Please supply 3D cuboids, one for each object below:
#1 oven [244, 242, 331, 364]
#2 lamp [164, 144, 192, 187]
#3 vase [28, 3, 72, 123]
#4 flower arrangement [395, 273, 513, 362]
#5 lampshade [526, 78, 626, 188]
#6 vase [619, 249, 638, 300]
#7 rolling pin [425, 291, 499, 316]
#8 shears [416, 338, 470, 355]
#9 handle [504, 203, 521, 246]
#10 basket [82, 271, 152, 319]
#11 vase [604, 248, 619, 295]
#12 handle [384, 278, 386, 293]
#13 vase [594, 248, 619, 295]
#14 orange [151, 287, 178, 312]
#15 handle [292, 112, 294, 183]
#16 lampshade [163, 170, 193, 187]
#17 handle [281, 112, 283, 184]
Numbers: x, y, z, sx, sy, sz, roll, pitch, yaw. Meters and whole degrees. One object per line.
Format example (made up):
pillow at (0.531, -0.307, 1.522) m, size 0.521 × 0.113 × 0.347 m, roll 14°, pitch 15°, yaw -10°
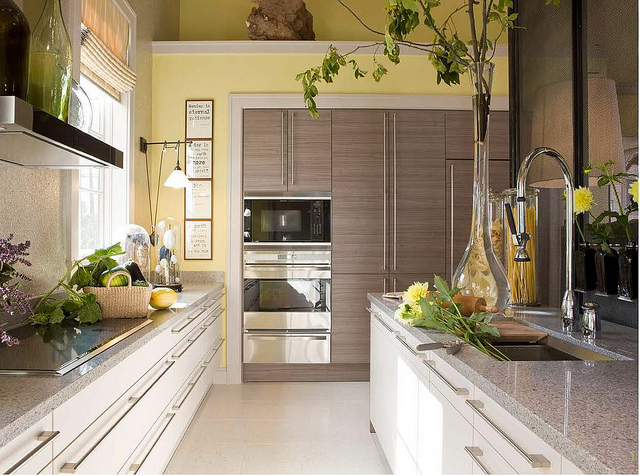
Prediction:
oven at (-0.287, 0.646, 4.416) m, size 0.807 × 1.087 × 0.781 m, roll 1°, pitch -7°, yaw -9°
lamp at (-1.130, -0.610, 3.715) m, size 0.201 × 0.351 × 0.209 m, roll 8°, pitch 13°, yaw 14°
vase at (-1.059, -0.682, 1.817) m, size 0.150 × 0.426 × 0.098 m, roll -4°, pitch 6°, yaw -32°
flower arrangement at (0.496, 0.312, 1.776) m, size 0.201 × 0.157 × 0.422 m, roll -15°, pitch 29°, yaw -26°
lampshade at (1.314, -0.521, 2.428) m, size 0.482 × 0.569 × 0.499 m, roll -13°, pitch 14°, yaw -25°
vase at (1.139, 0.132, 1.731) m, size 0.056 × 0.187 × 0.055 m, roll 2°, pitch 6°, yaw 31°
rolling pin at (0.549, 0.257, 1.897) m, size 0.317 × 0.093 × 0.086 m, roll 5°, pitch -16°, yaw 29°
shears at (0.437, 0.367, 1.627) m, size 0.307 × 0.040 × 0.064 m, roll 10°, pitch -11°, yaw -44°
handle at (0.758, -0.054, 1.843) m, size 0.048 × 0.169 × 0.208 m, roll 1°, pitch 5°, yaw 22°
basket at (-0.974, 0.267, 2.243) m, size 0.261 × 0.189 × 0.198 m, roll 0°, pitch -3°, yaw -12°
vase at (1.145, 0.133, 1.831) m, size 0.071 × 0.171 × 0.044 m, roll -6°, pitch 7°, yaw -44°
handle at (0.568, 0.408, 4.099) m, size 0.014 × 0.110 × 0.015 m, roll -1°, pitch 5°, yaw 0°
vase at (1.129, 0.133, 1.840) m, size 0.080 × 0.176 × 0.062 m, roll 0°, pitch 5°, yaw 19°
orange at (-0.877, 0.350, 2.647) m, size 0.099 × 0.106 × 0.134 m, roll 6°, pitch 1°, yaw 9°
handle at (-0.238, -0.804, 4.081) m, size 0.011 × 0.595 × 0.048 m, roll 0°, pitch 5°, yaw 18°
lampshade at (-1.133, -0.453, 3.744) m, size 0.156 × 0.090 × 0.161 m, roll 1°, pitch -2°, yaw -5°
handle at (-0.334, -0.803, 4.078) m, size 0.013 × 0.595 × 0.046 m, roll 0°, pitch 5°, yaw 10°
